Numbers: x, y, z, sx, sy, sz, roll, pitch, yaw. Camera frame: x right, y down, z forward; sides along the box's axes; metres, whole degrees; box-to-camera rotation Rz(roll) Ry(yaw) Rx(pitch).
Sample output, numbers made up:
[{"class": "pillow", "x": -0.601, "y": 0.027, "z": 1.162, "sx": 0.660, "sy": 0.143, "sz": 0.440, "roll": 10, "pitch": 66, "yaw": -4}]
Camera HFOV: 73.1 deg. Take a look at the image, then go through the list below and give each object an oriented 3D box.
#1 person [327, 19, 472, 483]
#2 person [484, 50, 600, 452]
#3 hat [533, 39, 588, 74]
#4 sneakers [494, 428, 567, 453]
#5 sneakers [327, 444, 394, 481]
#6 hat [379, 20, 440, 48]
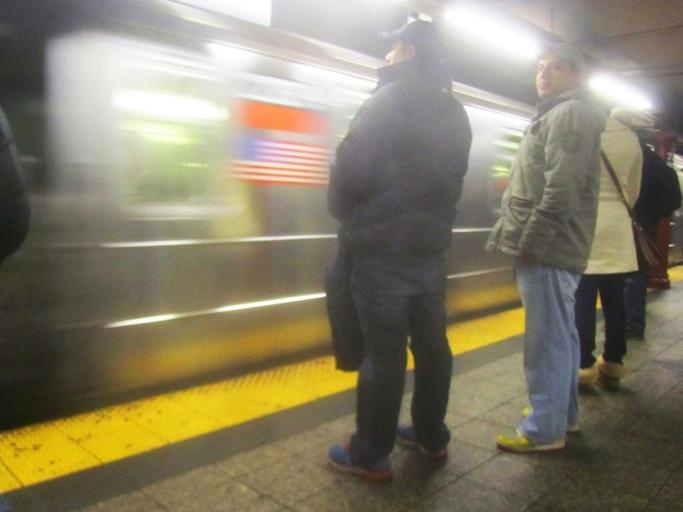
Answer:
[{"class": "person", "x": 0.286, "y": -0.030, "z": 2.350, "sx": 0.713, "sy": 2.246, "sz": 0.348, "roll": -5, "pitch": 9, "yaw": -28}, {"class": "person", "x": 1.127, "y": -0.067, "z": 2.598, "sx": 0.465, "sy": 2.231, "sz": 0.635, "roll": 5, "pitch": 10, "yaw": 35}, {"class": "hat", "x": 1.284, "y": -1.146, "z": 2.704, "sx": 0.230, "sy": 0.134, "sz": 0.163, "roll": 31, "pitch": 12, "yaw": -13}, {"class": "sneakers", "x": 1.051, "y": 1.028, "z": 2.606, "sx": 0.368, "sy": 0.147, "sz": 0.137, "roll": 5, "pitch": -14, "yaw": 3}, {"class": "sneakers", "x": 0.098, "y": 1.032, "z": 2.391, "sx": 0.288, "sy": 0.139, "sz": 0.138, "roll": 7, "pitch": -6, "yaw": 30}, {"class": "hat", "x": 0.344, "y": -1.089, "z": 2.298, "sx": 0.240, "sy": 0.098, "sz": 0.158, "roll": 3, "pitch": 28, "yaw": 3}]
